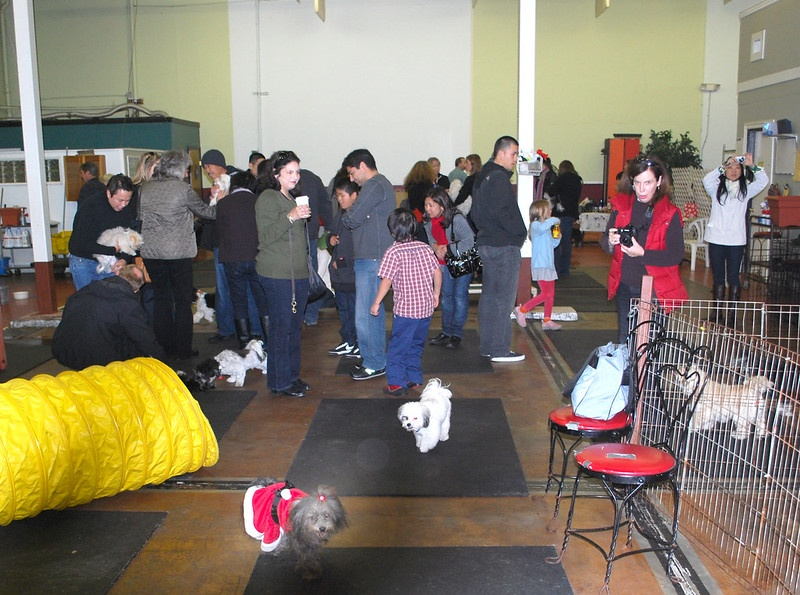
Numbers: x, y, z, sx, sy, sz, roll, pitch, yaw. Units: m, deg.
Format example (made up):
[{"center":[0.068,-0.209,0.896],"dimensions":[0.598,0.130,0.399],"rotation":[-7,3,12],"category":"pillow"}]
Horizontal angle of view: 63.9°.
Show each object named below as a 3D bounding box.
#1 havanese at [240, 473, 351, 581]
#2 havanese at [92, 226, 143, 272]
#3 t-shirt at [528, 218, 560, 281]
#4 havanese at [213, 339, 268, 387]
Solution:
[{"center":[-0.643,1.239,3.616],"dimensions":[0.797,0.461,0.331],"rotation":[9,10,43],"category":"havanese"},{"center":[-2.719,-0.461,6.175],"dimensions":[0.372,0.458,0.338],"rotation":[17,18,42],"category":"havanese"},{"center":[1.727,-0.574,7.729],"dimensions":[0.334,0.726,0.425],"rotation":[1,11,13],"category":"t-shirt"},{"center":[-1.547,0.646,6.343],"dimensions":[0.324,0.404,0.548],"rotation":[11,18,38],"category":"havanese"}]
